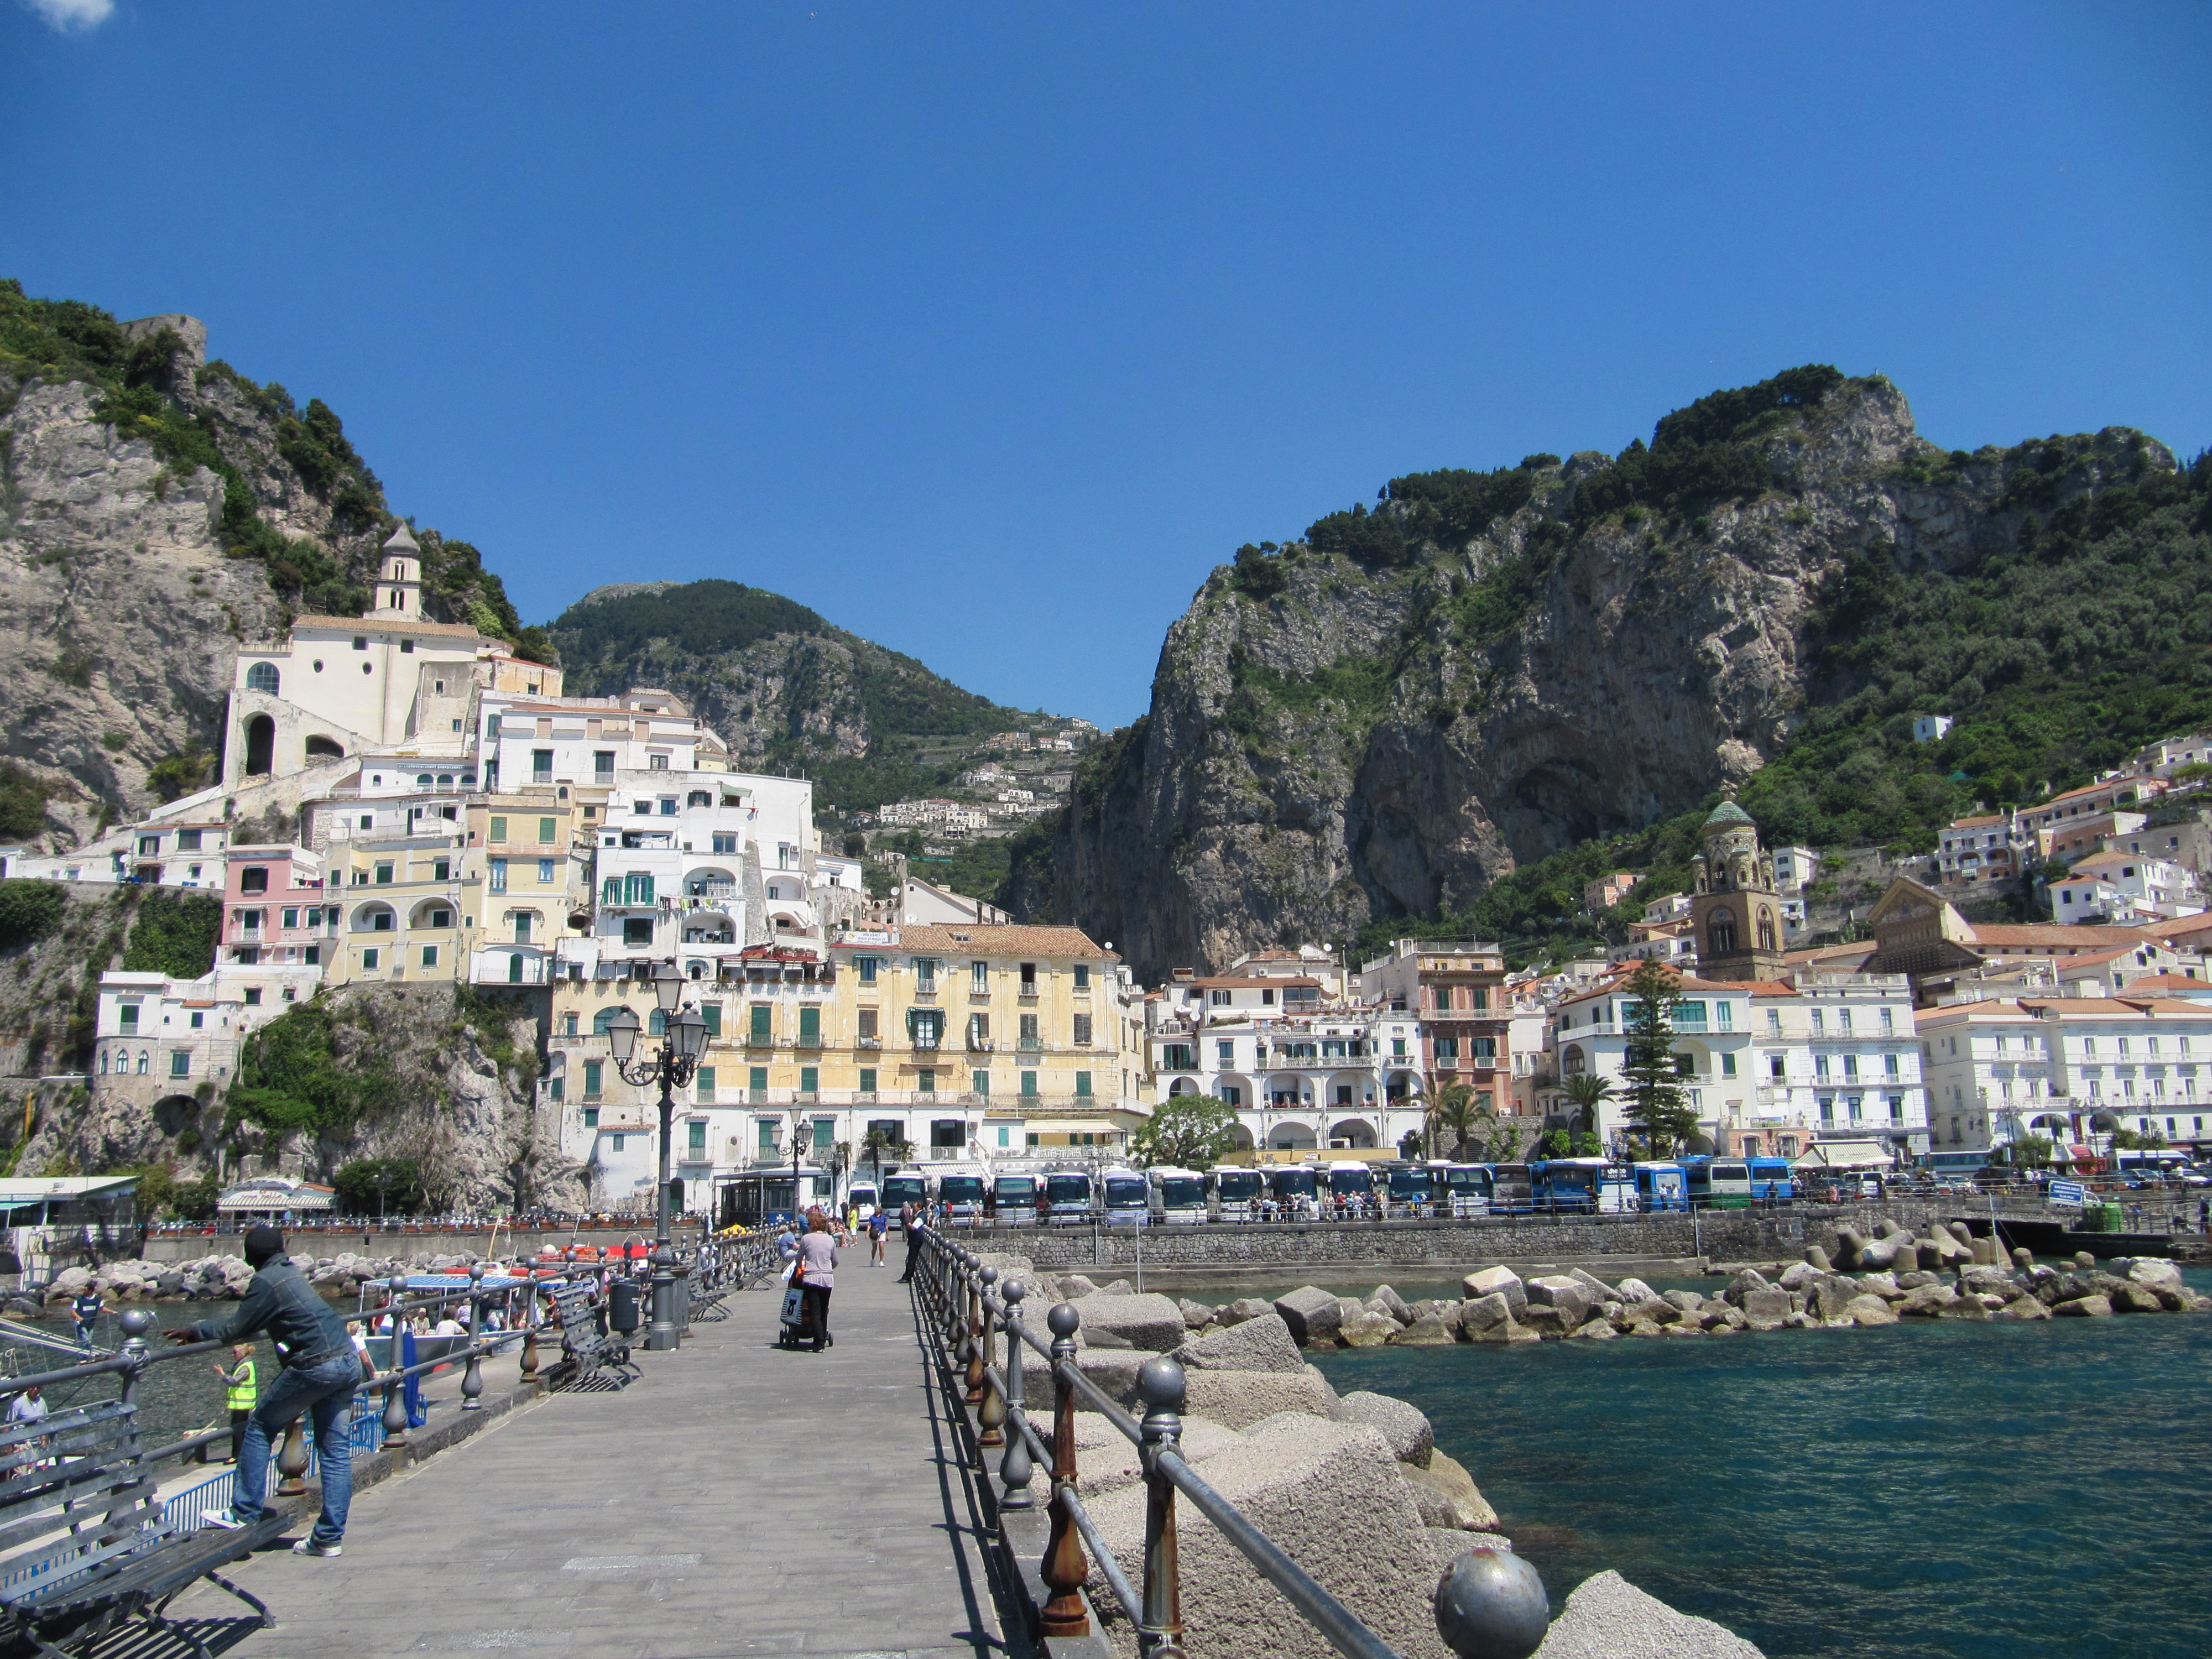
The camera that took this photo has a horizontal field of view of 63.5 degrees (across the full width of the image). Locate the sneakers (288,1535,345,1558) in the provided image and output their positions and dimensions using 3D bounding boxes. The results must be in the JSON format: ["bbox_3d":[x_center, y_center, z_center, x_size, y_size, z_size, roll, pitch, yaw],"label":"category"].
[{"bbox_3d":[-5.968,5.423,13.479,0.341,0.161,0.144,1,-17,27],"label":"sneakers"}]

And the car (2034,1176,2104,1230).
[{"bbox_3d":[34.256,13.382,63.357,1.777,1.525,3.489,-8,-11,22],"label":"car"}]

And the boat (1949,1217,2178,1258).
[{"bbox_3d":[31.875,13.260,58.169,2.318,1.407,5.668,0,-14,-14],"label":"boat"}]

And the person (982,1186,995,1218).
[{"bbox_3d":[-3.841,12.236,58.616,0.297,0.928,0.784,-1,-13,-9],"label":"person"}]

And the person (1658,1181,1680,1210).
[{"bbox_3d":[19.468,12.571,61.545,0.797,0.868,0.200,5,-4,-24],"label":"person"}]
